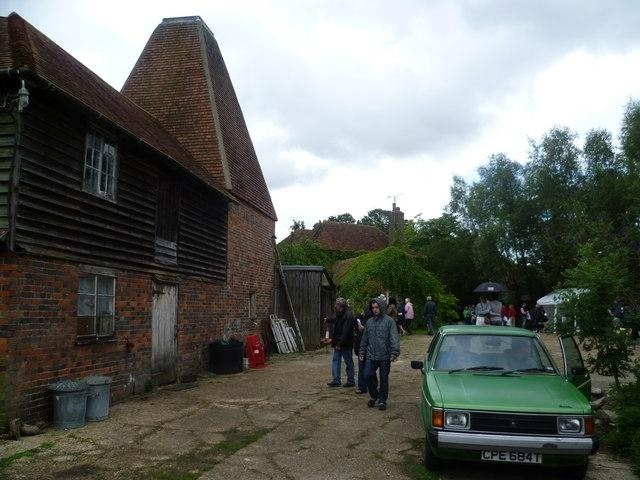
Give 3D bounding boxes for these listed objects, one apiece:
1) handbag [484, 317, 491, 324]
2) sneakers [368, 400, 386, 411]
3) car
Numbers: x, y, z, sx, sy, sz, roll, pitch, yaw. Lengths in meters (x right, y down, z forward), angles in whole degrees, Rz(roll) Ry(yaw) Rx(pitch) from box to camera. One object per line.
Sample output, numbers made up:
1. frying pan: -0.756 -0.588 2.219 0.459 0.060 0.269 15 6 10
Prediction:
1. handbag: 4.814 2.338 13.273 0.166 0.230 0.086 3 -40 1
2. sneakers: 1.101 3.213 8.977 0.143 0.187 0.433 2 -13 -29
3. car: 2.337 1.987 6.005 1.563 1.108 2.537 -2 -14 13
